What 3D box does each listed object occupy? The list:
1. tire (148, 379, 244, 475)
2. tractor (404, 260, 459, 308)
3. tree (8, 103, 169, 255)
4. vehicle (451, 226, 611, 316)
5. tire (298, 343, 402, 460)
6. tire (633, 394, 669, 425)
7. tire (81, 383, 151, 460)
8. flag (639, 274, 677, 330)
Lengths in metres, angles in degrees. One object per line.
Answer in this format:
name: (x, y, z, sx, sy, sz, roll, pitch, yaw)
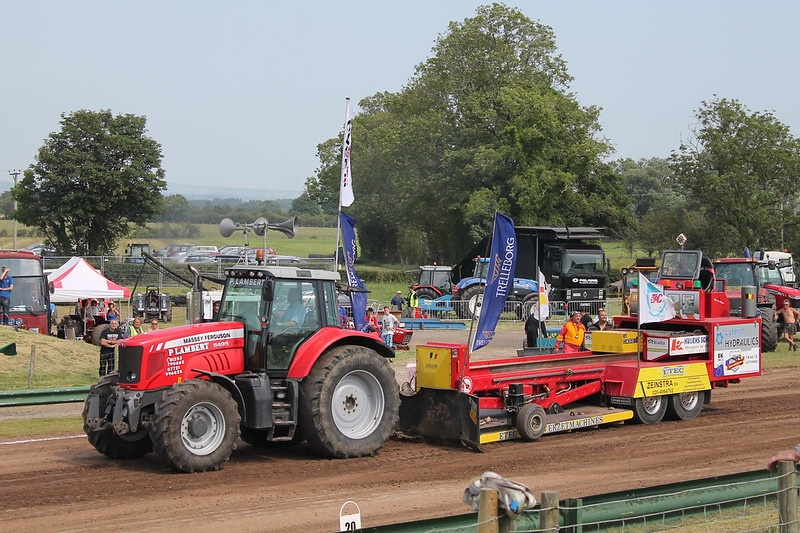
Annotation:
tire: (-4.008, 3.113, 19.226, 1.524, 1.762, 0.528, 2, -8, -31)
tractor: (1.391, 0.855, 42.318, 1.865, 1.974, 1.330, -4, 5, 2)
tree: (-18.305, -5.097, 58.967, 7.591, 8.390, 2.686, 0, 0, -26)
vehicle: (5.301, -0.070, 42.178, 3.606, 3.742, 5.991, 1, -4, -33)
tire: (-1.096, 2.767, 20.160, 1.651, 1.850, 0.544, -18, 0, -37)
tire: (5.721, 3.272, 22.662, 0.574, 0.674, 0.192, -5, 9, -24)
tire: (-5.704, 3.064, 19.890, 1.266, 1.630, 0.507, 0, 0, -20)
flag: (6.144, 0.891, 23.559, 1.199, 1.492, 0.177, 1, -2, -39)
